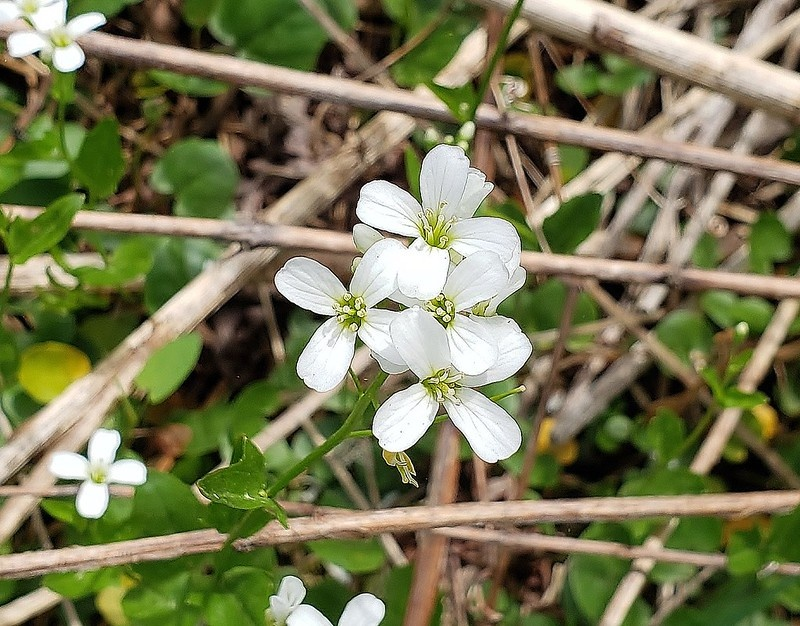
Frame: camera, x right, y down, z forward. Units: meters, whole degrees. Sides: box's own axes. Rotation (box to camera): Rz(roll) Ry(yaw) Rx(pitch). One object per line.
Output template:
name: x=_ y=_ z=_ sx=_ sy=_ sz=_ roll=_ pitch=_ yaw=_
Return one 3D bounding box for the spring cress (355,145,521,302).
spring cress: x=0.076 y=-0.186 z=1.654 sx=0.236 sy=0.098 sz=0.272 roll=-14 pitch=-8 yaw=33

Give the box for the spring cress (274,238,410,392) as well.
spring cress: x=-0.126 y=-0.017 z=1.647 sx=0.251 sy=0.081 sz=0.292 roll=1 pitch=23 yaw=-47

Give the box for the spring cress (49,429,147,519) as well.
spring cress: x=-0.705 y=0.372 z=1.808 sx=0.197 sy=0.075 sz=0.227 roll=17 pitch=70 yaw=-4
